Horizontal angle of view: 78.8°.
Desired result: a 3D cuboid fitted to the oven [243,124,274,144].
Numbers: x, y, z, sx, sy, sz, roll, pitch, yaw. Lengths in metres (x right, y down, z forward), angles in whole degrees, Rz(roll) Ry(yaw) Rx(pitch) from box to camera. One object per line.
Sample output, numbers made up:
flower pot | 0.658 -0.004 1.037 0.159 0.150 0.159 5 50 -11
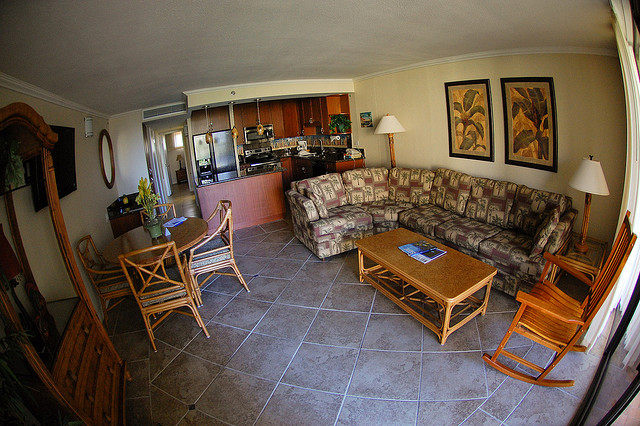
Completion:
oven | -1.525 -1.925 9.548 0.764 0.473 0.453 -17 22 -41

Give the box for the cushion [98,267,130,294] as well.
cushion | -2.568 0.871 4.842 0.345 0.087 0.367 -9 29 -18

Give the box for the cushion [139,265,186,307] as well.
cushion | -1.887 0.915 4.666 0.545 0.125 0.562 -17 23 -27

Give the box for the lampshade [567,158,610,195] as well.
lampshade | 2.935 -0.399 4.339 0.403 0.409 0.360 -24 29 -37

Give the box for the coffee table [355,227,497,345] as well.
coffee table | 1.245 0.783 4.872 0.885 0.614 1.537 -17 28 -30

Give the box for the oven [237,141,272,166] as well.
oven | -1.655 -1.464 9.559 0.534 0.492 0.274 -15 -2 -22

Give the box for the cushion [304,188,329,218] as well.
cushion | -0.036 -0.148 5.993 0.138 0.391 0.412 -23 13 -14

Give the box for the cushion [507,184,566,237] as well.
cushion | 2.776 -0.027 4.985 0.142 0.570 0.594 10 16 -12

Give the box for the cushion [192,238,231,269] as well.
cushion | -1.470 0.543 5.228 0.408 0.101 0.432 -14 25 -8

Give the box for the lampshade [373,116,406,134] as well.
lampshade | 1.214 -1.553 6.871 0.358 0.244 0.356 -9 16 -21

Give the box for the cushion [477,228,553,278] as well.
cushion | 2.422 0.476 4.809 0.496 0.135 0.511 -12 26 -31

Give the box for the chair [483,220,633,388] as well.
chair | 2.409 0.940 3.928 0.710 1.501 0.766 30 47 27

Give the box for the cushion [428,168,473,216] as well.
cushion | 1.975 -0.328 5.956 0.157 0.618 0.679 5 22 -29

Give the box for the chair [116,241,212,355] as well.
chair | -1.916 0.863 4.763 0.777 1.314 0.861 -11 22 -5

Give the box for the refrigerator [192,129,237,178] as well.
refrigerator | -2.594 -1.412 9.426 0.894 1.565 0.540 -12 50 -19

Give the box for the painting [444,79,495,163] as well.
painting | 2.252 -1.398 5.893 0.185 1.168 0.900 -12 17 -21

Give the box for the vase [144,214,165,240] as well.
vase | -2.148 0.174 5.154 0.310 0.254 0.275 -2 12 -4

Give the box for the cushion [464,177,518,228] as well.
cushion | 2.356 -0.141 5.408 0.154 0.629 0.628 4 19 -35

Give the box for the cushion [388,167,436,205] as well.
cushion | 1.481 -0.461 6.438 0.159 0.599 0.674 3 5 -43

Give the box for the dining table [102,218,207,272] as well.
dining table | -2.088 0.344 4.913 0.888 0.328 0.872 -32 33 -31

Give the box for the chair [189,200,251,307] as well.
chair | -1.514 0.464 5.341 0.713 1.169 0.808 -13 21 -20

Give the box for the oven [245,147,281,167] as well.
oven | -1.443 -1.375 9.612 0.756 0.533 0.518 -11 18 -30

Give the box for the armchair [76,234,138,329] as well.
armchair | -2.560 0.821 4.670 0.614 1.002 0.602 -14 38 -16

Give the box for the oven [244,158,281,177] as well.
oven | -1.362 -1.121 9.335 0.884 0.246 0.678 -9 16 -12

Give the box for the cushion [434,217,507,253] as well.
cushion | 2.047 0.179 5.553 0.830 0.195 0.782 -23 9 -35

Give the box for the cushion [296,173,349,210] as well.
cushion | 0.137 -0.401 6.500 0.667 0.618 0.177 -14 -6 -29
